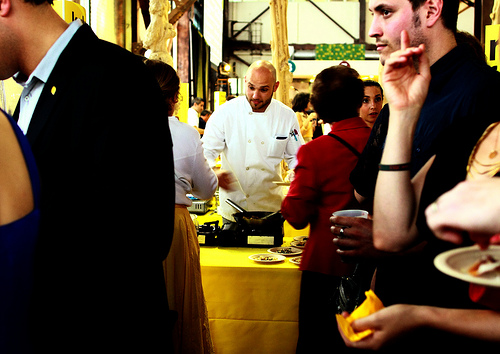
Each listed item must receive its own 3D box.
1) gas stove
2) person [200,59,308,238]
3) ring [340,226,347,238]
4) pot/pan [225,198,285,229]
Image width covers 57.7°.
[{"bbox_3d":[-0.079,0.395,3.034,0.389,0.151,0.245,0,-1,7],"label":"gas stove"},{"bbox_3d":[0.031,-0.181,3.945,0.882,1.542,0.811,-2,37,-6],"label":"person"},{"bbox_3d":[0.335,0.199,1.649,0.008,0.028,0.029,10,41,-2],"label":"ring"},{"bbox_3d":[0.016,0.249,3.047,0.406,0.135,0.150,2,12,18],"label":"pot/pan"}]
